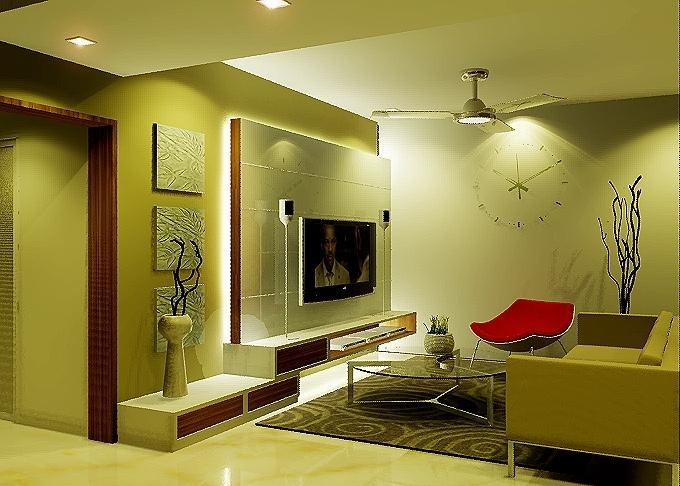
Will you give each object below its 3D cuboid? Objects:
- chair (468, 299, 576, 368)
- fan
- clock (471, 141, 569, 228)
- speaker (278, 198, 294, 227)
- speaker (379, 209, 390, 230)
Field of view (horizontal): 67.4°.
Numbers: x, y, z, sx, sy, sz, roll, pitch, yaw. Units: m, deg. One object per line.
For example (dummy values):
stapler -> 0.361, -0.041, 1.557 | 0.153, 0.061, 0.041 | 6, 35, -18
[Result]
chair -> 2.243, 1.131, 6.253 | 1.076, 0.703, 1.162 | -6, 1, -15
fan -> 1.506, -1.343, 5.140 | 1.248, 0.338, 1.111 | -1, 2, -41
clock -> 2.573, -0.815, 7.121 | 1.210, 1.263, 0.187 | 1, 0, 28
speaker -> -0.597, -0.337, 5.665 | 0.166, 0.222, 0.365 | 0, 1, -7
speaker -> 0.651, -0.331, 7.410 | 0.113, 0.270, 0.201 | 0, 1, 19
